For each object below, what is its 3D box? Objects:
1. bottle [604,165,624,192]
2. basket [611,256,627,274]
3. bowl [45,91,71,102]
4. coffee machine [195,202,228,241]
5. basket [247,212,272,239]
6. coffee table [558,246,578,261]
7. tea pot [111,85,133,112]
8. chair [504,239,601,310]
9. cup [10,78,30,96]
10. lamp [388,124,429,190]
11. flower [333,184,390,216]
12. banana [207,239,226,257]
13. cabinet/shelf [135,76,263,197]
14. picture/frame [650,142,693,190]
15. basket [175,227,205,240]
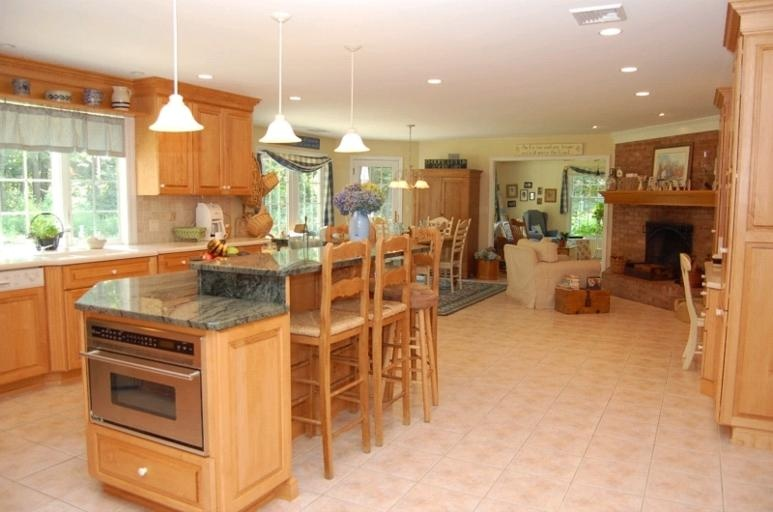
[{"bbox_3d":[4.260,-1.441,9.800,0.292,0.399,0.657,7,13,32],"label":"bottle"},{"bbox_3d":[4.248,0.166,9.577,0.335,0.280,0.338,1,1,42],"label":"basket"},{"bbox_3d":[-3.433,-1.681,5.487,0.186,0.070,0.169,1,5,-3],"label":"bowl"},{"bbox_3d":[-2.300,-0.469,6.834,0.373,0.452,0.504,-4,12,-18],"label":"coffee machine"},{"bbox_3d":[-1.810,-0.450,7.388,0.359,0.380,0.214,-4,13,-16],"label":"basket"},{"bbox_3d":[3.867,-0.070,11.245,0.260,0.362,0.453,6,7,40],"label":"coffee table"},{"bbox_3d":[-3.010,-1.784,5.925,0.185,0.272,0.221,-4,13,-16],"label":"tea pot"},{"bbox_3d":[2.794,0.170,8.539,1.354,0.928,1.247,-5,8,-23],"label":"chair"},{"bbox_3d":[-3.667,-1.697,5.256,0.159,0.192,0.183,-8,14,-32],"label":"cup"},{"bbox_3d":[0.488,-1.956,10.840,0.808,1.222,2.001,0,11,1],"label":"lamp"},{"bbox_3d":[-0.227,-0.533,4.874,0.407,0.256,0.313,-8,-6,30],"label":"flower"},{"bbox_3d":[-1.273,-0.058,3.923,0.084,0.158,0.077,26,23,-16],"label":"banana"},{"bbox_3d":[-2.264,-1.418,6.157,0.575,1.109,1.510,2,4,29],"label":"cabinet/shelf"},{"bbox_3d":[4.845,-1.521,8.879,0.050,1.020,0.977,-5,7,-30],"label":"picture/frame"},{"bbox_3d":[-2.455,-0.297,6.534,0.203,0.077,0.248,3,5,37],"label":"basket"}]
